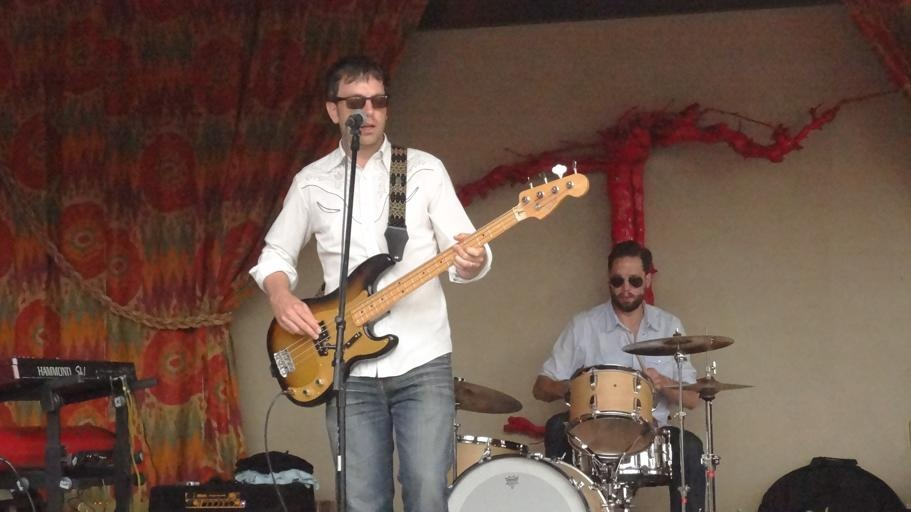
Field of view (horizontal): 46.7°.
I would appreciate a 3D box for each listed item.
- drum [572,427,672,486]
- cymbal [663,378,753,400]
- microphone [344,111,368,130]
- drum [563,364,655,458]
[{"bbox_3d":[1.381,1.616,8.535,0.690,0.229,0.481,5,-18,-14],"label":"drum"},{"bbox_3d":[2.068,1.087,8.669,0.541,0.175,0.465,-3,-19,2],"label":"cymbal"},{"bbox_3d":[-0.673,-0.914,7.173,0.139,0.143,0.088,1,-19,-7],"label":"microphone"},{"bbox_3d":[1.222,1.152,8.485,0.771,0.495,0.746,1,-34,1],"label":"drum"}]
